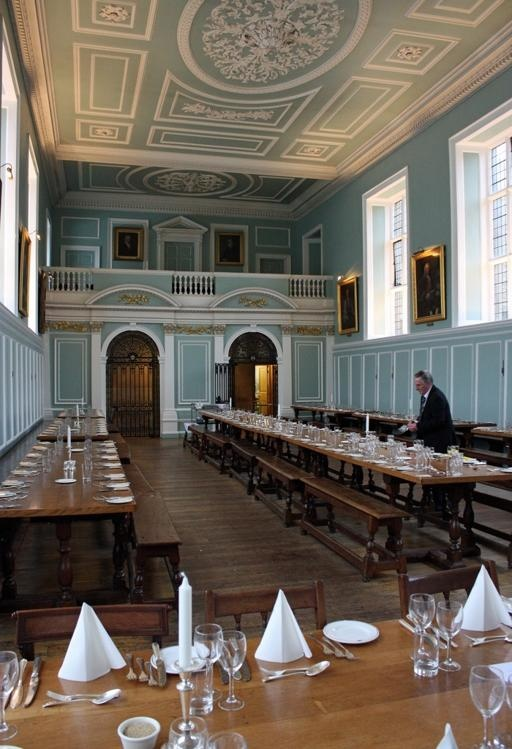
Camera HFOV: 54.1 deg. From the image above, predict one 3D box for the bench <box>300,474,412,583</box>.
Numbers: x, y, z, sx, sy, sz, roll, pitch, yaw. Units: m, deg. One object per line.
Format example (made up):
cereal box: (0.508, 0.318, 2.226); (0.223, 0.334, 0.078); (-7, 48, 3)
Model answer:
bench: (0.959, 1.544, 5.195); (0.413, 0.565, 1.549); (4, -2, -18)

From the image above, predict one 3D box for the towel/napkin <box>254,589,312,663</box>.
towel/napkin: (0.083, 0.776, 1.548); (0.166, 0.184, 0.123); (-3, -1, 9)

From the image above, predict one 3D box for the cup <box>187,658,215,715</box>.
cup: (-0.131, 0.773, 1.226); (0.060, 0.100, 0.062); (2, -25, 1)

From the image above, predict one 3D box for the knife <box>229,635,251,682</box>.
knife: (-0.046, 0.816, 1.466); (0.058, 0.033, 0.217); (1, -6, -11)

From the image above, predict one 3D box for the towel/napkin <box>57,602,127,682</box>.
towel/napkin: (-0.481, 0.770, 1.446); (0.172, 0.178, 0.130); (-10, -12, 8)

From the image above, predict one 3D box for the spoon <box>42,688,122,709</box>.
spoon: (-0.442, 0.824, 1.282); (0.202, 0.034, 0.060); (3, 3, -9)

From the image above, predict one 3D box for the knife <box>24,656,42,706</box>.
knife: (-0.602, 0.827, 1.353); (0.031, 0.010, 0.188); (3, -2, -16)

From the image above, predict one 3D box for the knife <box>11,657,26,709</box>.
knife: (-0.619, 0.810, 1.318); (0.023, 0.012, 0.146); (14, 15, -17)

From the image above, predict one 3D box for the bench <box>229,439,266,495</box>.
bench: (-0.117, 1.868, 8.990); (0.485, 0.715, 1.694); (1, -2, -11)

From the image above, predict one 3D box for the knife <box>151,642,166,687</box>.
knife: (-0.272, 0.834, 1.450); (0.026, 0.022, 0.165); (-1, 9, -13)

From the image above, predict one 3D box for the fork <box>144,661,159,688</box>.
fork: (-0.289, 0.840, 1.398); (0.036, 0.017, 0.122); (-7, -1, -12)

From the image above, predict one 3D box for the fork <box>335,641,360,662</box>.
fork: (0.284, 0.862, 1.572); (0.020, 0.018, 0.124); (-3, -4, -13)

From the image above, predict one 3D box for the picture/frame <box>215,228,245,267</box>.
picture/frame: (-0.956, -4.716, 18.748); (1.107, 1.173, 0.285); (-1, 0, -5)
